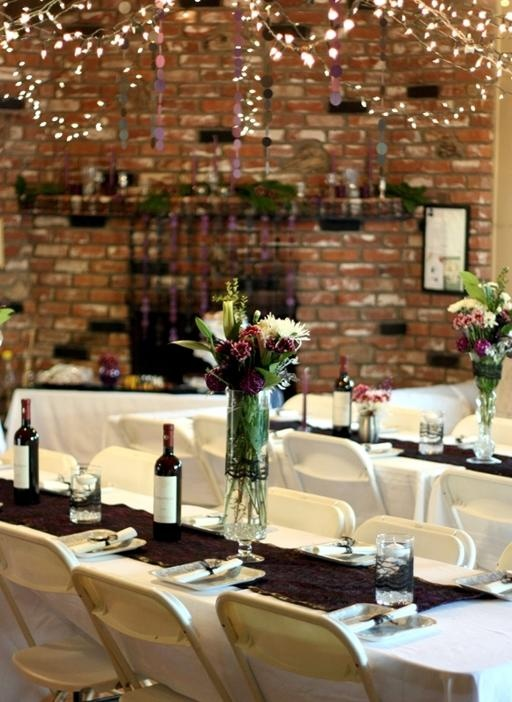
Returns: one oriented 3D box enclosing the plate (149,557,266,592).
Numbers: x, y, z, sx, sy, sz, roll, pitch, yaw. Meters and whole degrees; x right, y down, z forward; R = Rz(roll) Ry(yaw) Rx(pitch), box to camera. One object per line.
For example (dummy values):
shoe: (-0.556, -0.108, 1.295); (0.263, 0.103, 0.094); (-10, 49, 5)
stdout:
plate: (-0.092, 0.437, 1.246); (0.102, 0.016, 0.094); (3, 6, 39)

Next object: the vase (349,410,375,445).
vase: (0.506, 0.350, 2.887); (0.138, 0.163, 0.133); (-3, -3, 34)

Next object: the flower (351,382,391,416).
flower: (0.553, 0.216, 2.950); (0.146, 0.137, 0.161); (-4, -4, 35)

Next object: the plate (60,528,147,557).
plate: (-0.352, 0.444, 1.476); (0.103, 0.027, 0.085); (0, 2, -24)
